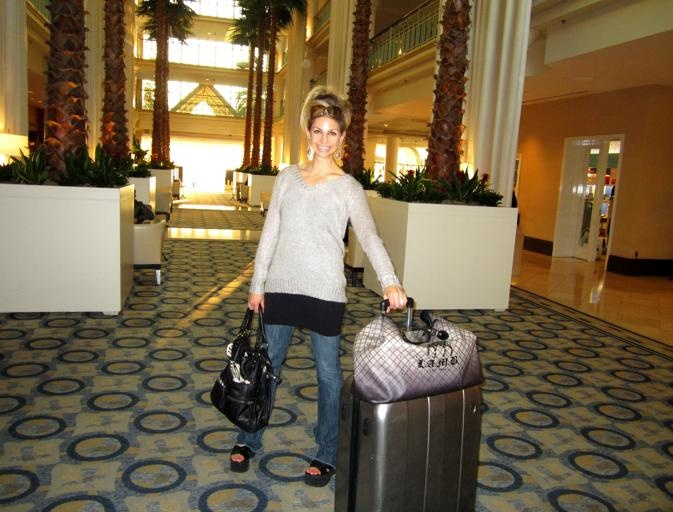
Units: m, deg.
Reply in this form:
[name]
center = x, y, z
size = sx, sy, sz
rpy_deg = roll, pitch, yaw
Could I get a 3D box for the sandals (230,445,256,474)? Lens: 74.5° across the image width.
[sandals]
center = -0.469, 0.982, 2.145
size = 0.082, 0.041, 0.134
rpy_deg = 4, 15, 2

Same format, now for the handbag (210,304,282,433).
[handbag]
center = -0.404, 0.503, 1.957
size = 0.284, 0.515, 0.166
rpy_deg = 2, 10, -14

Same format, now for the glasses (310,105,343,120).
[glasses]
center = -0.043, -0.619, 1.896
size = 0.082, 0.024, 0.079
rpy_deg = 1, -15, -5
